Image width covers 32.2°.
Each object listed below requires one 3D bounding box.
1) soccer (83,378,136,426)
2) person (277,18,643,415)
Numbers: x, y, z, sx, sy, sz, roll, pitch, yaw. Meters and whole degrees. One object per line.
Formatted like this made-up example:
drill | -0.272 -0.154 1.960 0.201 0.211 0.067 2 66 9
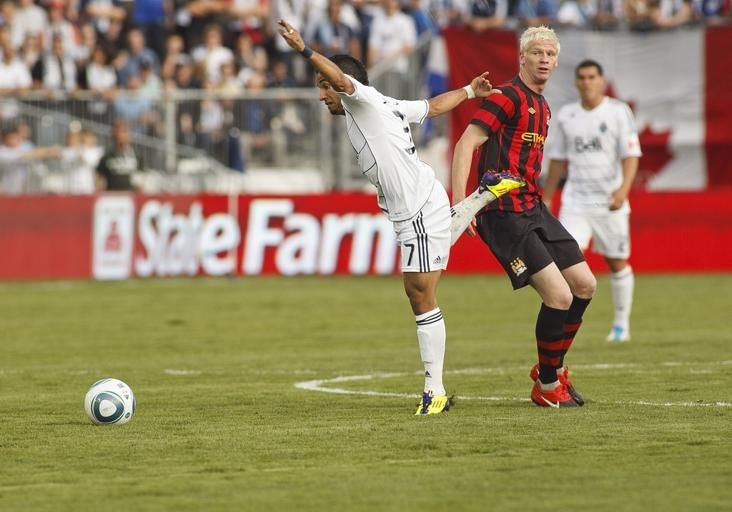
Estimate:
soccer | -2.170 1.233 11.097 0.486 0.350 0.659 1 11 -9
person | 1.420 -0.355 11.323 1.200 3.363 0.539 -1 3 6
